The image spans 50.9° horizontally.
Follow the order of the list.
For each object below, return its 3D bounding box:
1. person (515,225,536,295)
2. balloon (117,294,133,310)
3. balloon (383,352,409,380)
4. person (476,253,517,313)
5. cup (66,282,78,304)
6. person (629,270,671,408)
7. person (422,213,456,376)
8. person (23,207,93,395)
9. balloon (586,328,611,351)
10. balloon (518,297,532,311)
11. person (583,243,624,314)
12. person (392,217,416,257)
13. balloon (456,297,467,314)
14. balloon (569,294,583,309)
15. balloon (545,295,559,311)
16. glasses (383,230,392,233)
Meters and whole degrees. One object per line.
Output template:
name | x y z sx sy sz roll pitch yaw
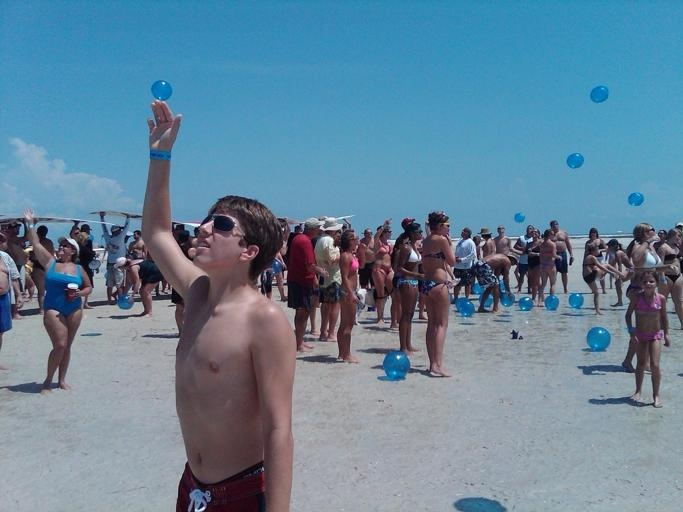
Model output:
person | 5.169 0.119 19.864 0.691 2.006 0.638 -7 14 -7
balloon | -4.706 0.996 15.482 0.257 0.341 0.393 -2 7 -14
balloon | 0.774 1.549 10.140 0.349 0.451 0.374 -1 -7 8
person | 3.736 0.656 17.393 0.761 1.421 3.295 2 7 14
cup | -3.526 0.467 9.346 0.153 0.233 0.185 -2 7 -18
person | 4.074 0.988 9.567 0.545 1.636 1.720 3 8 24
person | 1.386 0.530 10.353 0.477 2.375 0.860 1 7 8
person | -3.777 0.632 9.615 0.755 2.287 0.864 -3 8 -25
balloon | 4.028 1.301 11.457 0.375 0.486 0.398 0 2 6
balloon | 4.170 1.096 16.292 0.310 0.308 0.292 -5 -7 8
person | 5.904 0.512 16.135 0.857 1.603 0.469 0 13 22
person | 0.996 -0.285 11.189 0.378 0.621 0.964 0 7 4
balloon | 2.523 1.075 15.041 0.223 0.347 0.388 1 7 11
balloon | 5.329 1.032 16.305 0.328 0.425 0.349 2 1 1
balloon | 4.807 1.072 16.398 0.269 0.436 0.681 3 8 22
glasses | 0.911 -0.497 14.328 0.179 0.058 0.201 0 0 1
